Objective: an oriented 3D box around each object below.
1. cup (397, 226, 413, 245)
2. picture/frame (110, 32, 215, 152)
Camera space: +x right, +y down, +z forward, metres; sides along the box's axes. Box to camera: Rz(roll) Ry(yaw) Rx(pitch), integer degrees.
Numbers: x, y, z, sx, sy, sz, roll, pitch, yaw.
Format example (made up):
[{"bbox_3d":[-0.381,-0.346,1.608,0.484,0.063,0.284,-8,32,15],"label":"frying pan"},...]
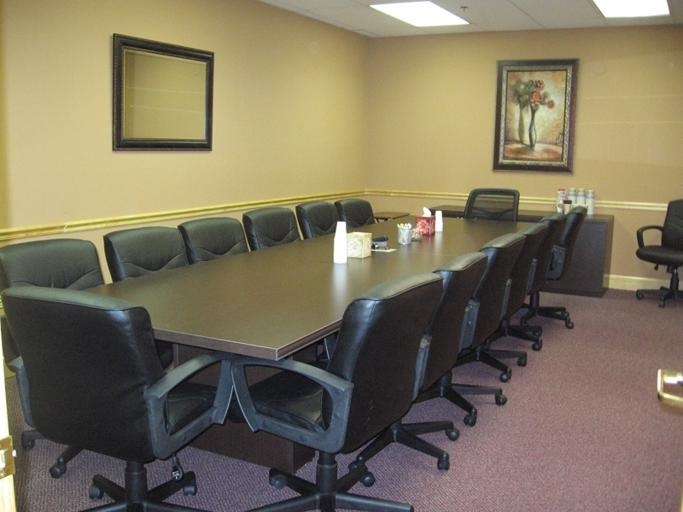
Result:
[{"bbox_3d":[0.506,-0.168,4.442,0.126,0.149,0.127,0,6,0],"label":"cup"},{"bbox_3d":[-1.636,-1.476,4.865,0.082,1.028,1.173,6,6,31],"label":"picture/frame"}]
